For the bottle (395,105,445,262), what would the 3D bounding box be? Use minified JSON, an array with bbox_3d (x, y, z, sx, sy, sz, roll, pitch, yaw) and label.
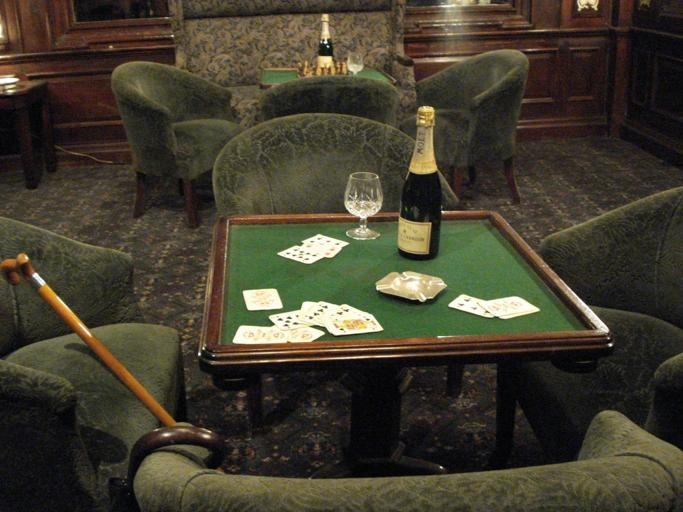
[{"bbox_3d":[0.241,-0.193,1.616,0.177,0.414,0.150,1,27,-10],"label":"bottle"}]
